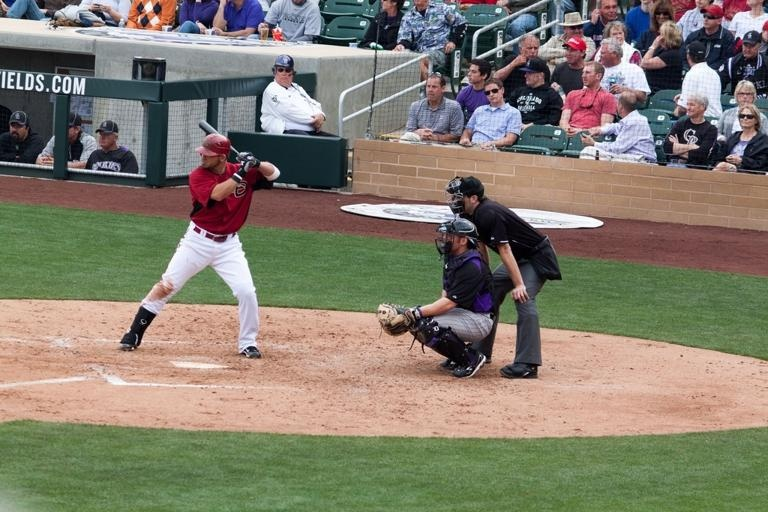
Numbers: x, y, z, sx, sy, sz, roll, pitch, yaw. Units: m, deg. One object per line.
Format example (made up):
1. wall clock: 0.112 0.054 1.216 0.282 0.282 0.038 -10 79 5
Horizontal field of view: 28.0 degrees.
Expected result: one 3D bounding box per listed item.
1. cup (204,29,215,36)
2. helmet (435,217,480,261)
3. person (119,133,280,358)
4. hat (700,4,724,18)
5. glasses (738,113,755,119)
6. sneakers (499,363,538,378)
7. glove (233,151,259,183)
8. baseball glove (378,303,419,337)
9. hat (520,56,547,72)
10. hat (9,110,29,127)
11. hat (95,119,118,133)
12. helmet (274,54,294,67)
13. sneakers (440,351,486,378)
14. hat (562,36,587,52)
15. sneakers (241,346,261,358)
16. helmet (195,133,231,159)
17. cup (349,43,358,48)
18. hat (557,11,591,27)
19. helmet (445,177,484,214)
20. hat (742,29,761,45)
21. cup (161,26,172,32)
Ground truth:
1. cup: -3.258 -4.128 28.575 0.117 0.081 0.132 -9 12 -40
2. helmet: 0.860 -0.253 17.706 0.557 0.392 0.407 2 8 5
3. person: -2.062 -0.135 17.891 1.448 2.565 0.460 5 8 -3
4. hat: 5.397 -4.039 25.510 0.273 0.215 0.259 6 7 12
5. glasses: 5.386 -2.095 23.156 0.216 0.078 0.111 6 7 21
6. sneakers: 1.530 1.319 17.804 0.412 0.163 0.167 4 5 2
7. glove: -1.600 -1.022 17.825 0.295 0.319 0.465 4 7 -4
8. baseball glove: 0.053 0.693 17.800 0.299 0.296 0.373 17 6 29
9. hat: 2.406 -3.107 25.224 0.407 0.175 0.261 6 19 0
10. hat: -5.996 -2.268 25.370 0.304 0.227 0.363 2 7 -13
11. hat: -4.368 -2.054 24.508 0.212 0.131 0.289 4 -4 32
12. helmet: -1.637 -3.155 25.082 0.278 0.198 0.313 3 7 -9
13. sneakers: 0.898 1.244 17.891 0.642 0.228 0.190 -10 11 -12
14. hat: 3.148 -3.461 25.331 0.400 0.172 0.257 11 14 -32
15. sneakers: -1.551 1.115 17.973 0.132 0.078 0.220 -2 2 -38
16. helmet: -1.992 -1.273 17.738 0.364 0.153 0.266 16 18 38
17. cup: -0.604 -3.931 28.847 0.162 0.074 0.141 -1 8 -7
18. hat: 3.171 -3.983 26.257 0.472 0.141 0.460 -4 7 3
19. helmet: 0.882 -0.720 17.751 0.503 0.389 0.361 -15 15 -26
20. hat: 5.854 -3.498 24.772 0.285 0.198 0.203 5 7 10
21. cup: -4.068 -4.232 28.861 0.158 0.072 0.138 1 8 -9
